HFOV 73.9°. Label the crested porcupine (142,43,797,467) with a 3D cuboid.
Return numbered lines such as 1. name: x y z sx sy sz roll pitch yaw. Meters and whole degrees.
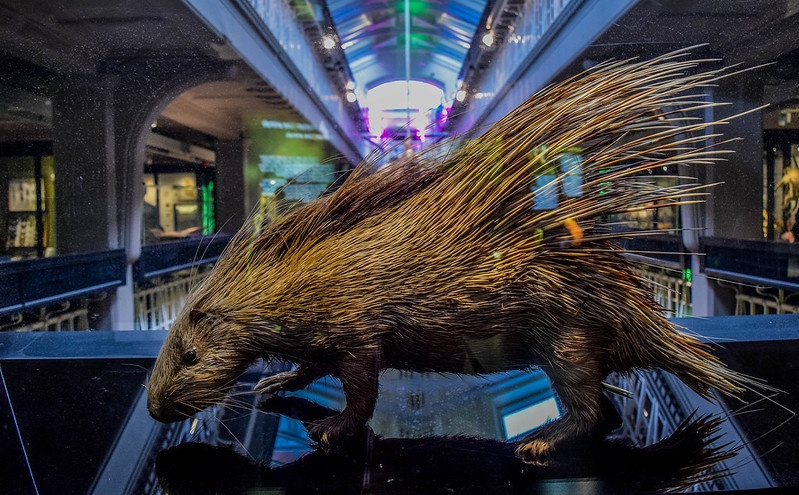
1. crested porcupine: 0.109 0.038 1.324 1.471 0.754 0.537 -4 6 9
